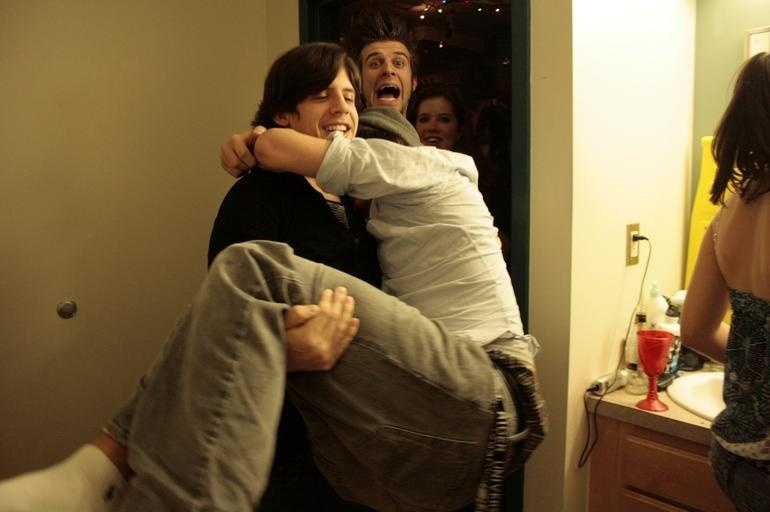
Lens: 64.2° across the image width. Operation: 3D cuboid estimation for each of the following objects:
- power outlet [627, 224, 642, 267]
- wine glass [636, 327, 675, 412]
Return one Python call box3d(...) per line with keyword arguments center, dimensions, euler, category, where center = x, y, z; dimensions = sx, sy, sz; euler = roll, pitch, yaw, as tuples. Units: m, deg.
box3d(center=(0.961, -0.045, 2.376), dimensions=(0.101, 0.158, 0.024), euler=(-12, 14, -41), category="power outlet")
box3d(center=(0.932, 0.397, 2.123), dimensions=(0.108, 0.272, 0.081), euler=(2, 11, 24), category="wine glass")
